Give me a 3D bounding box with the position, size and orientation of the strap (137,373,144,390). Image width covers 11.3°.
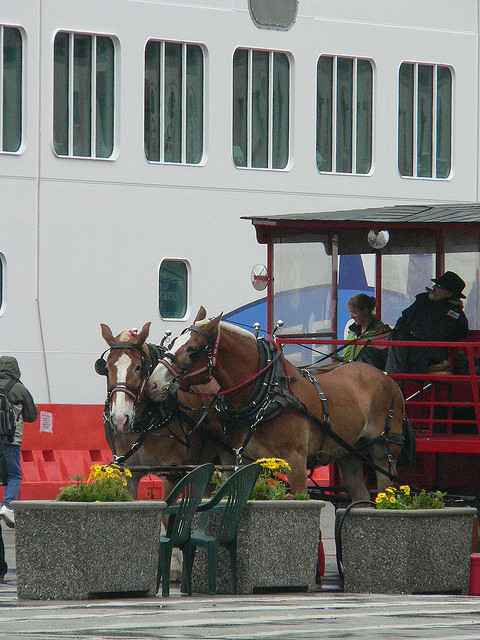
[{"bbox_3d":[-0.948,0.572,22.743,0.021,0.119,0.111,10,43,11],"label":"strap"}]

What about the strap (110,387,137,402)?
[{"bbox_3d":[-1.088,0.698,22.617,0.244,0.130,0.105,-2,0,-3],"label":"strap"}]

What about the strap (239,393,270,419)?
[{"bbox_3d":[0.145,0.831,22.792,0.046,0.202,0.186,44,-34,-11],"label":"strap"}]

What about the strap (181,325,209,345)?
[{"bbox_3d":[-0.397,0.140,22.861,0.186,0.173,0.099,-2,0,-1],"label":"strap"}]

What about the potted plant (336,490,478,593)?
[{"bbox_3d":[1.510,1.942,22.229,0.754,0.936,1.093,1,-8,-4],"label":"potted plant"}]

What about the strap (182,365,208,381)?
[{"bbox_3d":[-0.445,0.492,22.815,0.220,0.045,0.034,-30,52,-29],"label":"strap"}]

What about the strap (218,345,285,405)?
[{"bbox_3d":[0.077,0.542,23.009,0.137,0.074,0.747,39,59,22],"label":"strap"}]

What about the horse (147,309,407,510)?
[{"bbox_3d":[0.575,1.219,23.530,2.821,2.577,0.831,1,-1,-24],"label":"horse"}]

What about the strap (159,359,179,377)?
[{"bbox_3d":[-0.673,0.450,22.730,0.162,0.144,0.048,-2,0,23],"label":"strap"}]

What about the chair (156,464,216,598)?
[{"bbox_3d":[-0.616,1.894,21.719,0.670,1.217,0.609,6,0,41],"label":"chair"}]

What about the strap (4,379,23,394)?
[{"bbox_3d":[-2.297,0.657,24.374,0.069,0.133,0.116,6,-5,24],"label":"strap"}]

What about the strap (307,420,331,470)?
[{"bbox_3d":[0.746,1.204,23.393,0.164,0.466,0.486,-1,0,-17],"label":"strap"}]

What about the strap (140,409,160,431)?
[{"bbox_3d":[-0.869,0.942,22.983,0.030,0.219,0.031,38,2,38],"label":"strap"}]

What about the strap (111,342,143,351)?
[{"bbox_3d":[-1.076,0.246,22.862,0.281,0.073,0.131,-2,0,-6],"label":"strap"}]

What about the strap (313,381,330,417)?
[{"bbox_3d":[0.778,0.758,23.273,0.104,0.334,0.189,-1,0,-34],"label":"strap"}]

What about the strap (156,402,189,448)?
[{"bbox_3d":[-0.671,1.057,23.171,0.112,0.427,0.232,-40,19,-10],"label":"strap"}]

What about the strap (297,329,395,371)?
[{"bbox_3d":[1.064,0.315,24.902,0.119,0.082,0.798,33,40,28],"label":"strap"}]

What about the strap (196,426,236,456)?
[{"bbox_3d":[-0.244,1.156,23.289,0.349,0.053,0.059,45,26,1],"label":"strap"}]

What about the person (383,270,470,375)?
[{"bbox_3d":[1.935,0.061,25.087,0.609,1.219,0.538,32,-13,-29],"label":"person"}]

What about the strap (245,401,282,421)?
[{"bbox_3d":[0.209,0.873,22.801,0.374,0.156,0.028,-30,14,-29],"label":"strap"}]

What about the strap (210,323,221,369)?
[{"bbox_3d":[-0.234,0.256,22.999,0.063,0.341,0.143,12,-12,-40],"label":"strap"}]

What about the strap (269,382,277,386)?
[{"bbox_3d":[0.296,0.606,22.944,0.062,0.029,0.024,-2,0,-12],"label":"strap"}]

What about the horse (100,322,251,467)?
[{"bbox_3d":[-0.807,1.148,23.832,0.638,2.147,2.580,0,-3,13],"label":"horse"}]
